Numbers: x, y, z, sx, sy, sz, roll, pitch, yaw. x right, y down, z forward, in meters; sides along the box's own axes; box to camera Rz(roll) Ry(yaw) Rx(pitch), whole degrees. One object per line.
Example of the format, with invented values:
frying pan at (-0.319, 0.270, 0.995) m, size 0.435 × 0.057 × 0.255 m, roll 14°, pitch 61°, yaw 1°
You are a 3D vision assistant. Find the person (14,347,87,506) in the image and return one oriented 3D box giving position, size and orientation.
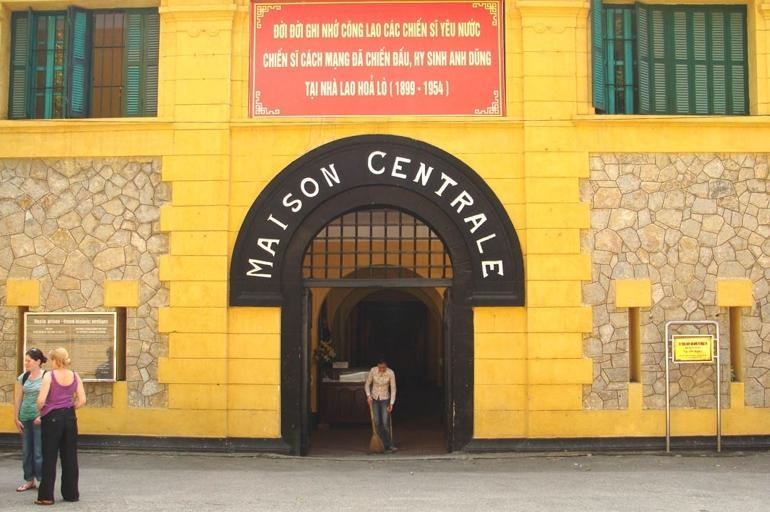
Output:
person at (-5.931, 2.967, 26.147) m, size 1.128 × 2.569 × 1.431 m, roll -6°, pitch 16°, yaw -22°

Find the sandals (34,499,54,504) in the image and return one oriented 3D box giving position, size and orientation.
sandals at (-5.973, 4.312, 25.787) m, size 0.240 × 0.105 × 0.117 m, roll 5°, pitch -4°, yaw 3°
